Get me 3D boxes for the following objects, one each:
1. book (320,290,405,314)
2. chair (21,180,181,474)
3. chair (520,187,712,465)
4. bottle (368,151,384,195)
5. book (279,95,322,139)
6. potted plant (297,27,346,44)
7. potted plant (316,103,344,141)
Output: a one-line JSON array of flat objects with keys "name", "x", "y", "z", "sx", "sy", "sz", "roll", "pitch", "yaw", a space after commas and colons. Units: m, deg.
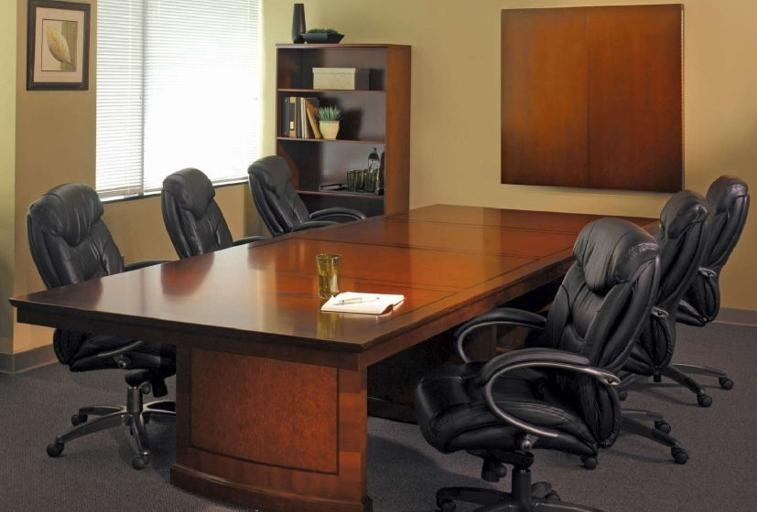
[{"name": "book", "x": -0.058, "y": 0.204, "z": 2.926, "sx": 0.333, "sy": 0.044, "sz": 0.341, "roll": 6, "pitch": 14, "yaw": 14}, {"name": "chair", "x": -1.475, "y": 0.369, "z": 3.780, "sx": 0.999, "sy": 1.422, "sz": 0.889, "roll": 6, "pitch": 8, "yaw": 7}, {"name": "chair", "x": 1.359, "y": 0.322, "z": 4.216, "sx": 1.248, "sy": 2.057, "sz": 1.420, "roll": 2, "pitch": 4, "yaw": 21}, {"name": "bottle", "x": -0.034, "y": -0.899, "z": 6.813, "sx": 0.175, "sy": 0.444, "sz": 0.446, "roll": 1, "pitch": 13, "yaw": -1}, {"name": "book", "x": -0.843, "y": -1.439, "z": 7.018, "sx": 0.407, "sy": 0.524, "sz": 0.531, "roll": 3, "pitch": 6, "yaw": 24}, {"name": "potted plant", "x": -0.635, "y": -2.317, "z": 6.776, "sx": 0.440, "sy": 0.144, "sz": 0.193, "roll": 6, "pitch": 14, "yaw": 17}, {"name": "potted plant", "x": -0.577, "y": -1.430, "z": 6.874, "sx": 0.329, "sy": 0.432, "sz": 0.318, "roll": 3, "pitch": 6, "yaw": 40}]
